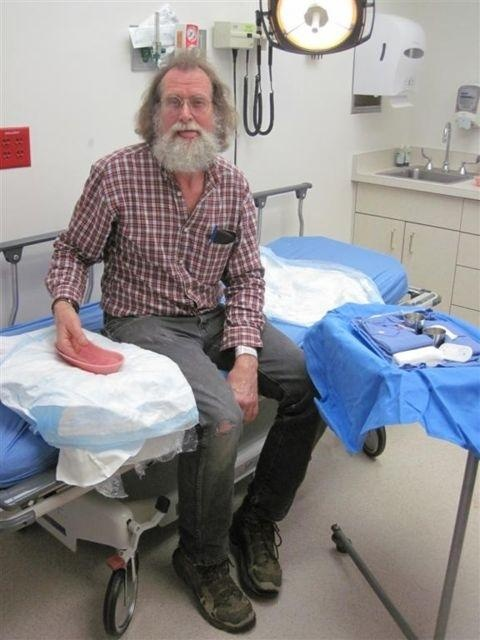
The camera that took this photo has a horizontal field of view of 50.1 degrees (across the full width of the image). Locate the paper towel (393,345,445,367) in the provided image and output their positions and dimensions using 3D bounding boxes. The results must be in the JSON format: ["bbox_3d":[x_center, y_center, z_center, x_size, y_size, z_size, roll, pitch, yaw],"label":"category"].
[{"bbox_3d":[0.392,0.081,1.120,0.132,0.024,0.069,-8,19,-33],"label":"paper towel"}]

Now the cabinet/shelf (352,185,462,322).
[{"bbox_3d":[0.994,-0.404,2.915,0.777,0.701,0.299,23,29,38],"label":"cabinet/shelf"}]

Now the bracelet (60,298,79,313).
[{"bbox_3d":[-0.436,-0.037,1.316,0.040,0.045,0.077,-2,17,-14],"label":"bracelet"}]

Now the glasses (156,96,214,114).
[{"bbox_3d":[-0.145,-0.606,1.442,0.127,0.038,0.040,-2,17,-16],"label":"glasses"}]

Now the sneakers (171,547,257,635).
[{"bbox_3d":[-0.045,0.683,1.405,0.118,0.163,0.261,-18,35,-40],"label":"sneakers"}]

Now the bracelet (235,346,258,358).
[{"bbox_3d":[0.017,0.086,1.438,0.041,0.014,0.039,10,30,10],"label":"bracelet"}]

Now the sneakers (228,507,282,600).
[{"bbox_3d":[0.048,0.668,1.525,0.092,0.121,0.267,4,31,-23],"label":"sneakers"}]
